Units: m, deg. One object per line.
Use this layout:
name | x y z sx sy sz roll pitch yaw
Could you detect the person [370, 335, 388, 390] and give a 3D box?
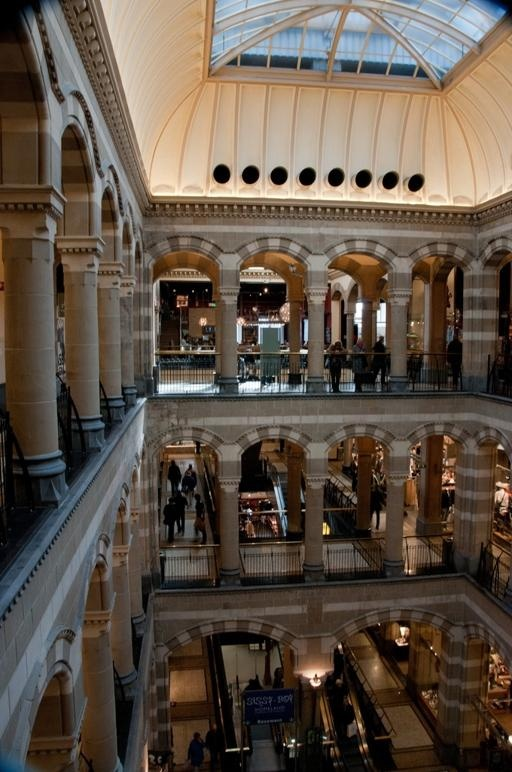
person | 3.270 -0.612 17.623 0.361 1.283 1.857 1 4 10
